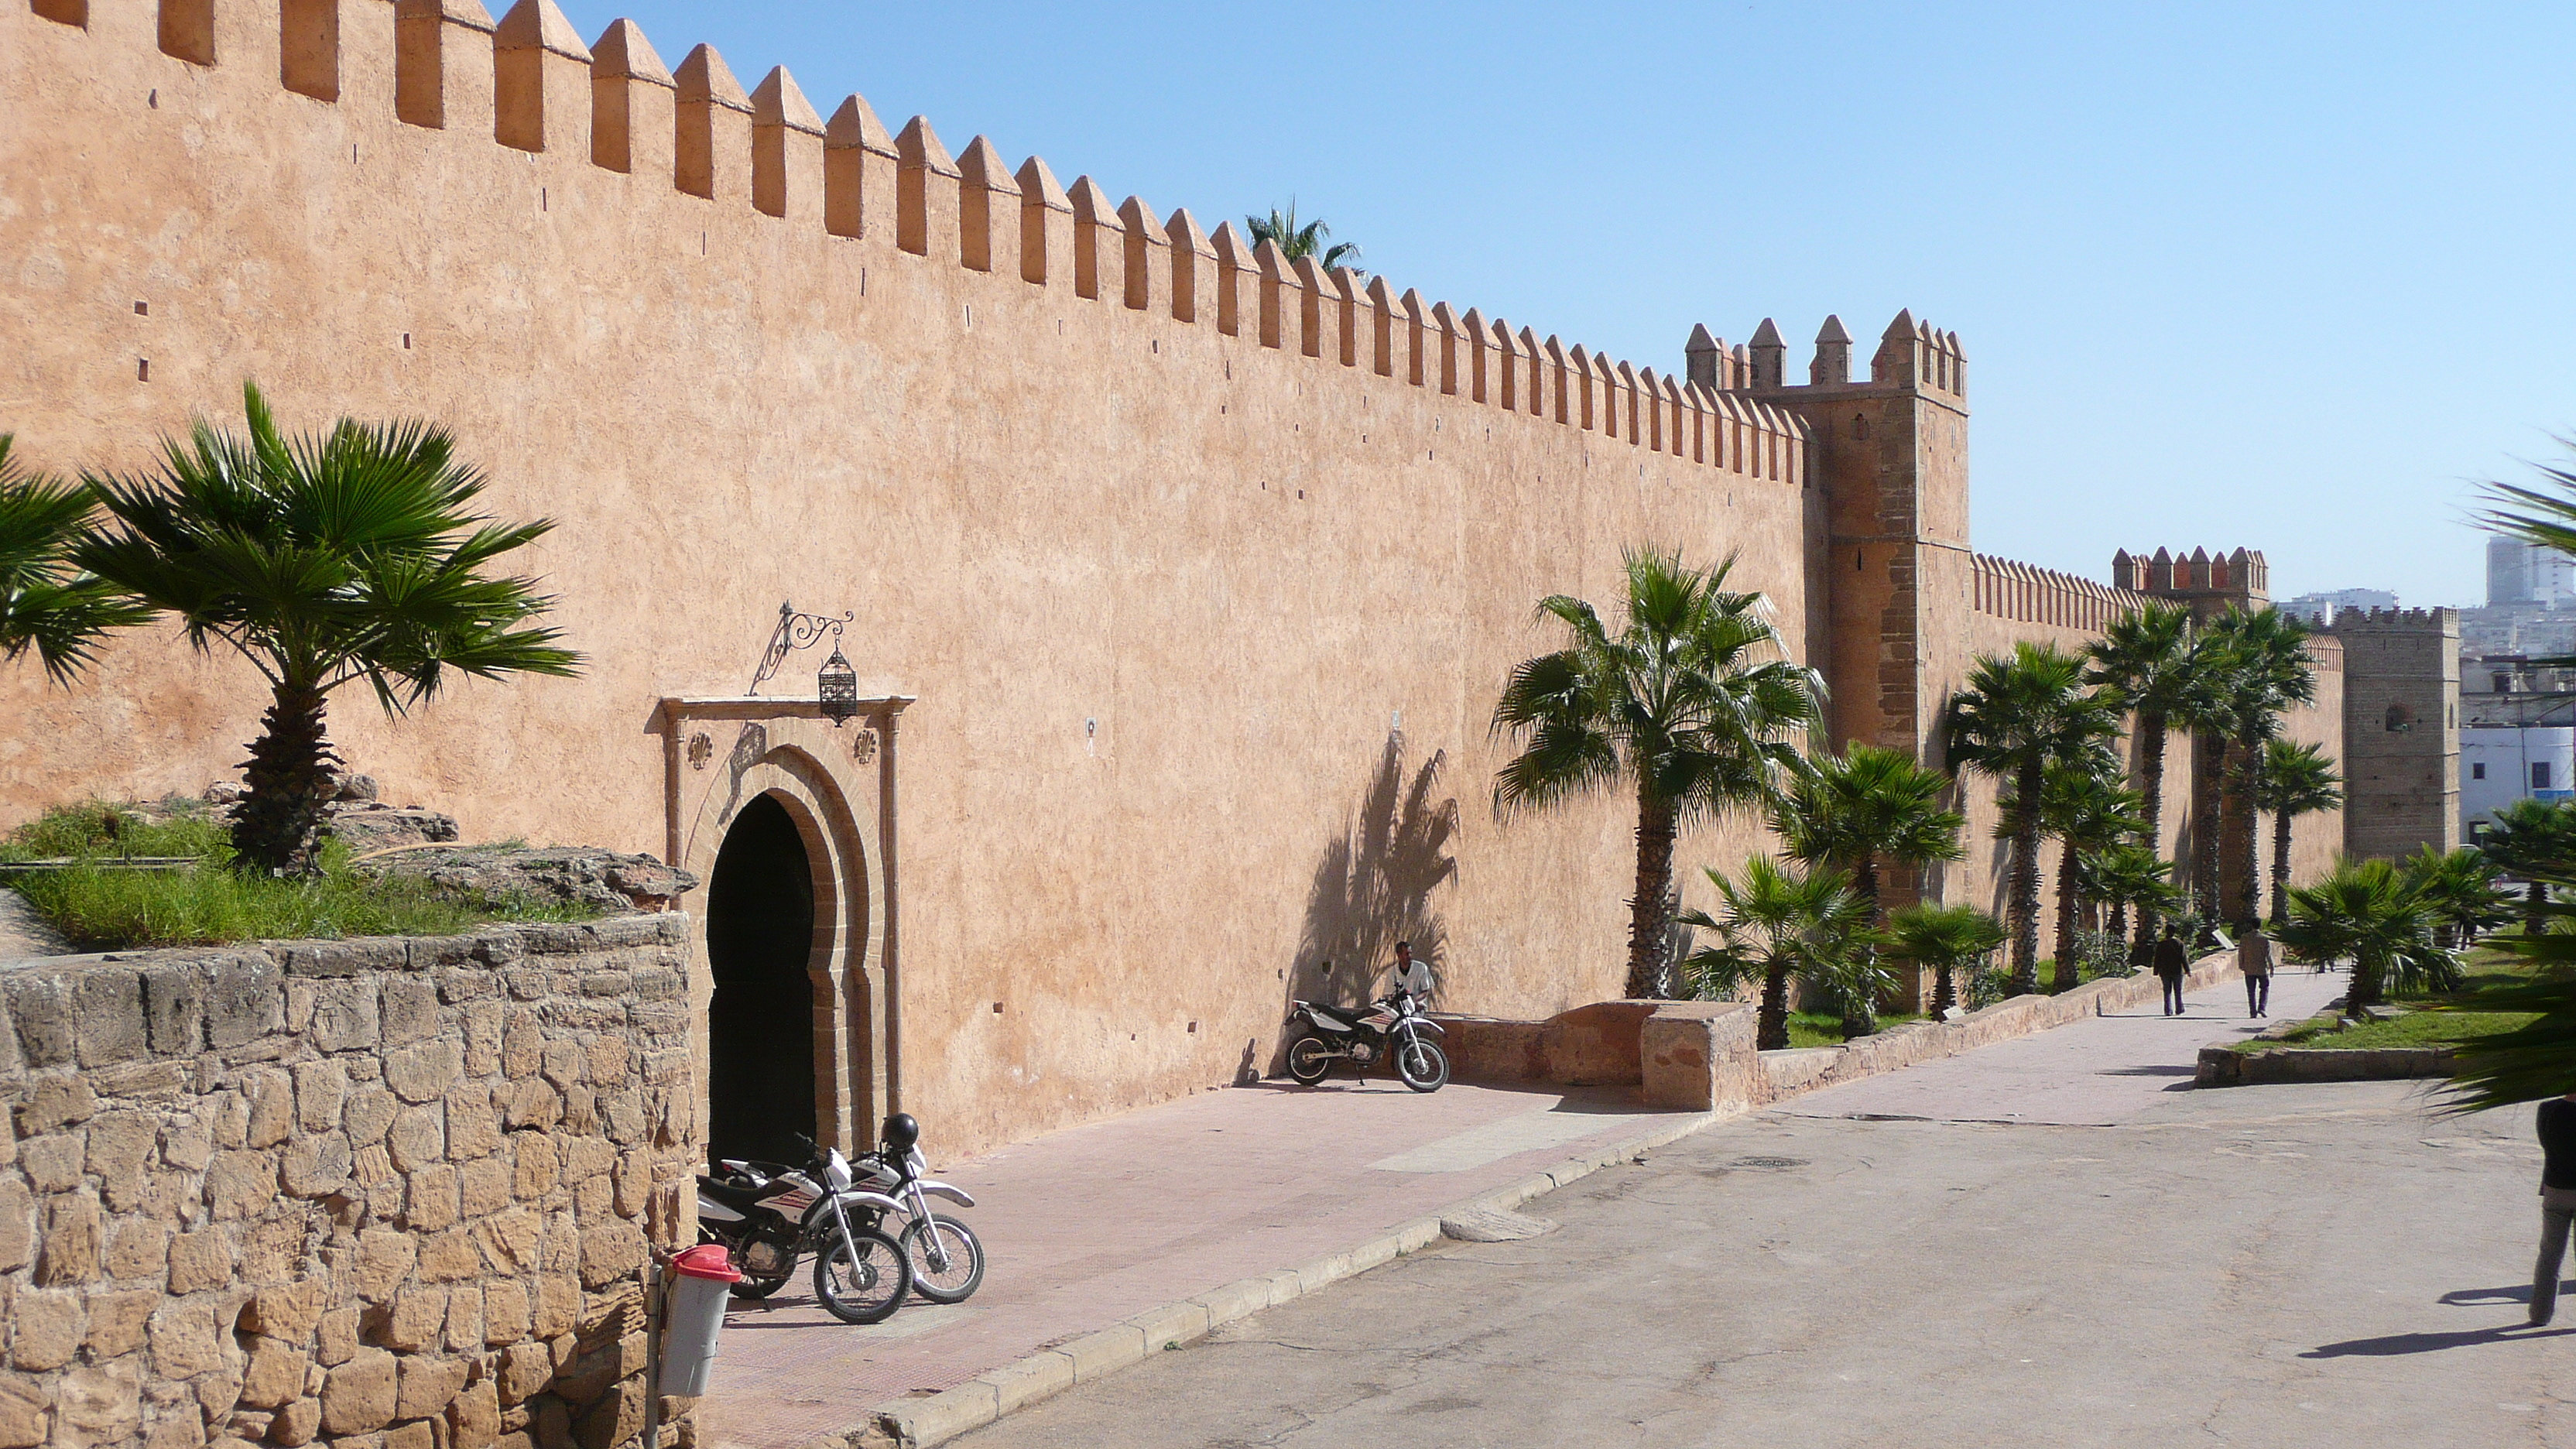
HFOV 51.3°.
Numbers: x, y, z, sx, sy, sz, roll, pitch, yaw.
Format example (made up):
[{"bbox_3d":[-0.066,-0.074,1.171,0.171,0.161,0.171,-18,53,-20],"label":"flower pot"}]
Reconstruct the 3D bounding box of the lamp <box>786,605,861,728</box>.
[{"bbox_3d":[-4.005,-0.520,23.207,0.540,1.029,0.310,-6,13,-12],"label":"lamp"}]

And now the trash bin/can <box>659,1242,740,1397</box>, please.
[{"bbox_3d":[-3.828,3.841,17.144,0.464,1.016,0.291,-1,7,-5],"label":"trash bin/can"}]

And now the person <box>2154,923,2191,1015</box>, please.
[{"bbox_3d":[12.635,3.583,38.695,0.362,1.263,1.635,2,7,16],"label":"person"}]

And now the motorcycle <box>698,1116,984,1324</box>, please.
[{"bbox_3d":[-3.279,3.692,19.989,2.339,1.259,1.130,-2,-3,14],"label":"motorcycle"}]

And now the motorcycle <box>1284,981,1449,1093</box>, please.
[{"bbox_3d":[0.748,3.272,27.596,1.948,1.107,0.736,0,-5,9],"label":"motorcycle"}]
